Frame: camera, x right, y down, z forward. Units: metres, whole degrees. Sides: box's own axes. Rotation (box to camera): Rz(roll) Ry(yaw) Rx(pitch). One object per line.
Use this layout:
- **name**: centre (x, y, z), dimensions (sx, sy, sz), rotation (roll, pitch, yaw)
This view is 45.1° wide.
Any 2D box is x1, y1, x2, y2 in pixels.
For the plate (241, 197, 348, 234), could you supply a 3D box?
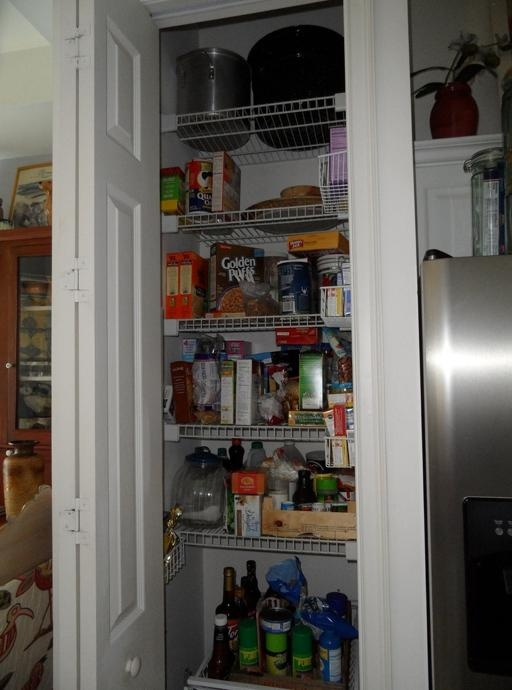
- **plate**: centre (0.112, -0.359, 1.708), dimensions (0.150, 0.034, 0.159), rotation (0, -2, -35)

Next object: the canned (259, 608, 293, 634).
- **canned**: centre (0.051, 0.740, 1.645), dimensions (0.083, 0.047, 0.073), rotation (0, -2, 0)

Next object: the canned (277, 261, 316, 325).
- **canned**: centre (0.101, -0.148, 1.683), dimensions (0.089, 0.147, 0.091), rotation (-3, -4, 21)

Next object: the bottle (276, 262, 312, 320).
- **bottle**: centre (0.102, -0.146, 1.647), dimensions (0.111, 0.181, 0.122), rotation (-1, -8, 1)

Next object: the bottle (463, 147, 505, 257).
- **bottle**: centre (0.416, -0.256, 1.114), dimensions (0.063, 0.184, 0.040), rotation (-2, -3, 35)

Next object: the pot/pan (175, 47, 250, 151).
- **pot/pan**: centre (-0.123, -0.674, 1.824), dimensions (0.259, 0.243, 0.250), rotation (0, -8, -3)

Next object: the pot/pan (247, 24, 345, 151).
- **pot/pan**: centre (0.103, -0.719, 1.740), dimensions (0.255, 0.274, 0.349), rotation (0, -2, -1)
